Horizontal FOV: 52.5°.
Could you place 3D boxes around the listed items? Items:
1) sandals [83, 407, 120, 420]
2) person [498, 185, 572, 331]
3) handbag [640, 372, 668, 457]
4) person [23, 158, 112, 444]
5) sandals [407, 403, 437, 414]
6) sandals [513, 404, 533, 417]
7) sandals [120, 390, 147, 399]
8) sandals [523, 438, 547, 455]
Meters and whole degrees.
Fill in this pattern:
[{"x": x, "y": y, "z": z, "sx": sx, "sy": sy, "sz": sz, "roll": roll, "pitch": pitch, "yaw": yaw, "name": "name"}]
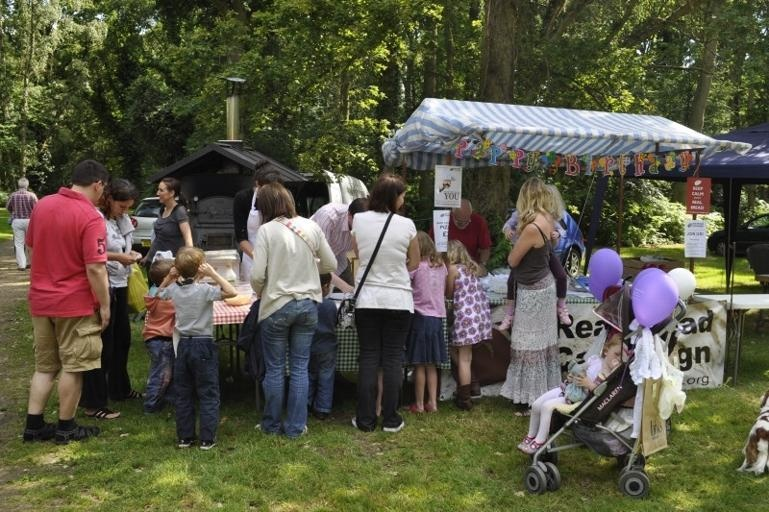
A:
[{"x": -3.284, "y": 1.837, "z": 9.057, "sx": 0.399, "sy": 0.154, "sz": 0.156, "roll": 1, "pitch": -4, "yaw": -4, "name": "sandals"}, {"x": 1.814, "y": 0.199, "z": 9.527, "sx": 0.688, "sy": 2.084, "sz": 0.698, "roll": 0, "pitch": 1, "yaw": -11, "name": "person"}, {"x": 2.778, "y": 1.655, "z": 8.008, "sx": 0.447, "sy": 0.749, "sz": 0.141, "roll": 1, "pitch": 0, "yaw": -37, "name": "handbag"}, {"x": -3.463, "y": 0.478, "z": 8.506, "sx": 0.893, "sy": 3.174, "sz": 0.518, "roll": 1, "pitch": 0, "yaw": -9, "name": "person"}, {"x": 0.460, "y": 1.829, "z": 9.388, "sx": 0.288, "sy": 0.087, "sz": 0.126, "roll": 2, "pitch": -5, "yaw": 9, "name": "sandals"}, {"x": 1.656, "y": 1.858, "z": 9.396, "sx": 0.153, "sy": 0.074, "sz": 0.155, "roll": 1, "pitch": 9, "yaw": -22, "name": "sandals"}, {"x": -3.085, "y": 1.689, "z": 9.549, "sx": 0.270, "sy": 0.073, "sz": 0.102, "roll": -1, "pitch": 2, "yaw": -14, "name": "sandals"}, {"x": 1.591, "y": 2.022, "z": 8.231, "sx": 0.214, "sy": 0.093, "sz": 0.120, "roll": -26, "pitch": -3, "yaw": -33, "name": "sandals"}]
